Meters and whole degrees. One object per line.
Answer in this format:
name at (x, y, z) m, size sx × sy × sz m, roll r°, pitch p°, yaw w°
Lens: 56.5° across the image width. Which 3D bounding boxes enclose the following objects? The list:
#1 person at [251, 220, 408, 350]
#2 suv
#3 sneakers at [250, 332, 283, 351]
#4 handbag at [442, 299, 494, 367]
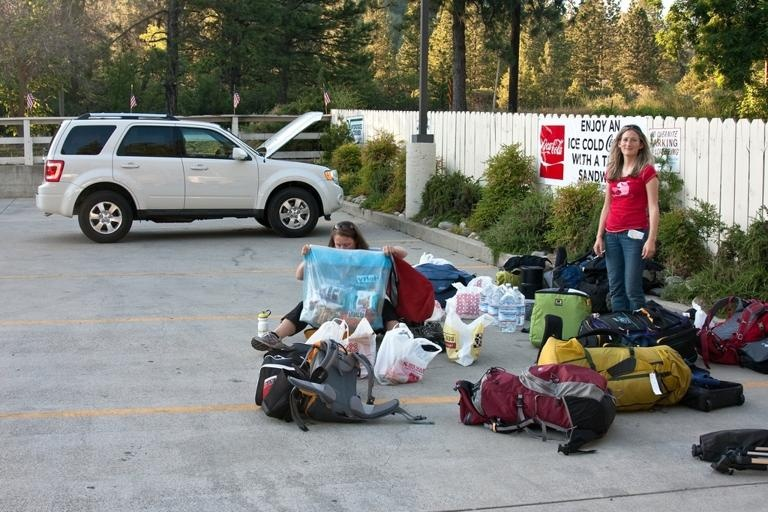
person at (-0.585, 0.384, 8.626) m, size 1.562 × 1.188 × 1.610 m, roll 0°, pitch 3°, yaw 15°
suv at (-4.102, -1.799, 16.482) m, size 6.478 × 2.952 × 2.697 m, roll -2°, pitch 6°, yaw -15°
sneakers at (-1.306, 1.001, 8.039) m, size 0.410 × 0.172 × 0.202 m, roll 7°, pitch 37°, yaw 11°
handbag at (0.951, 0.961, 8.382) m, size 0.571 × 0.628 × 0.389 m, roll 3°, pitch 0°, yaw -20°
